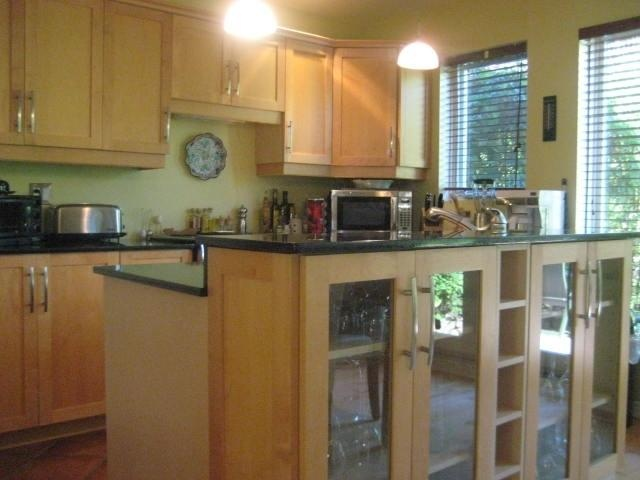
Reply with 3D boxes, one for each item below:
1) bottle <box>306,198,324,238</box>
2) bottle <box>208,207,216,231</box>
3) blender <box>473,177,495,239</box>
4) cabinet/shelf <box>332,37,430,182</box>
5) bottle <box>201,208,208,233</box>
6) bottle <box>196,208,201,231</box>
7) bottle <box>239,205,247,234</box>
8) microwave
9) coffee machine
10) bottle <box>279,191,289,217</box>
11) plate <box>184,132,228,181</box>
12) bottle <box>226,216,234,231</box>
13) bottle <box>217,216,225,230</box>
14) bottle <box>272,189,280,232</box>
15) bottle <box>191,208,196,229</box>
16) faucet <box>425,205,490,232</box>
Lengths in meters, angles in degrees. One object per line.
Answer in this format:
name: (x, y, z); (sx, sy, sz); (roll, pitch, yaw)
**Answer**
bottle: (-0.035, -0.214, 4.762); (0.157, 0.280, 0.247); (-1, 4, -3)
bottle: (-0.871, -0.172, 4.492); (0.051, 0.184, 0.120); (-2, 4, -11)
blender: (0.825, -0.176, 2.879); (0.084, 0.275, 0.086); (-6, 27, -9)
cabinet/shelf: (0.580, -1.085, 5.065); (0.980, 1.464, 0.974); (1, 1, 24)
bottle: (-0.915, -0.169, 4.457); (0.061, 0.176, 0.101); (-2, 4, -15)
bottle: (-0.941, -0.158, 4.401); (0.041, 0.161, 0.163); (-2, 4, -12)
bottle: (-0.634, -0.180, 4.610); (0.081, 0.223, 0.215); (-1, 4, -7)
microwave: (0.452, -0.228, 4.446); (0.636, 0.440, 0.405); (1, -3, -15)
coffee machine: (1.233, -0.169, 3.329); (0.291, 0.299, 0.221); (-2, -4, 40)
bottle: (-0.312, -0.320, 4.867); (0.084, 0.228, 0.074); (-2, 4, -17)
plate: (-0.915, -0.671, 4.484); (0.342, 0.352, 0.073); (13, -11, -44)
bottle: (-0.740, -0.147, 4.587); (0.048, 0.123, 0.095); (0, 4, 16)
bottle: (-0.799, -0.143, 4.548); (0.045, 0.106, 0.049); (2, 5, 32)
bottle: (-0.385, -0.258, 4.805); (0.066, 0.352, 0.093); (1, 4, 18)
bottle: (-1.000, -0.175, 4.419); (0.046, 0.141, 0.069); (-2, 4, -13)
faucet: (0.668, -0.098, 2.628); (0.244, 0.113, 0.465); (1, 5, 24)
